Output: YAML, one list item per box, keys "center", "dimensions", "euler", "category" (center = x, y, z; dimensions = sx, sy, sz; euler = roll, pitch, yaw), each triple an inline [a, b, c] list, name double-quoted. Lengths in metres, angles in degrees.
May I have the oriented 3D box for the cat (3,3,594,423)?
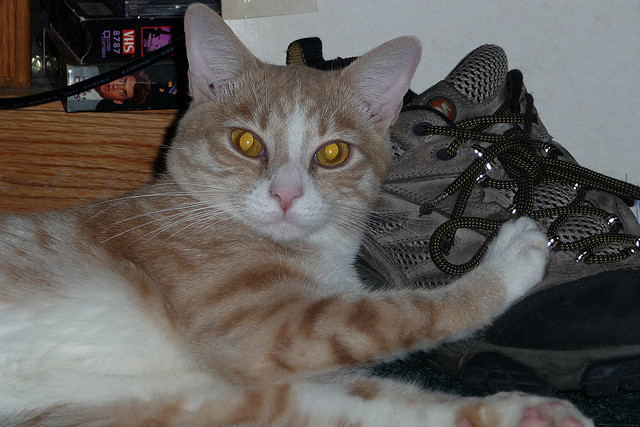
- center: [-0.115, 0.025, 1.379]
  dimensions: [1.218, 0.890, 0.558]
  euler: [9, 22, -3]
  category: "cat"
